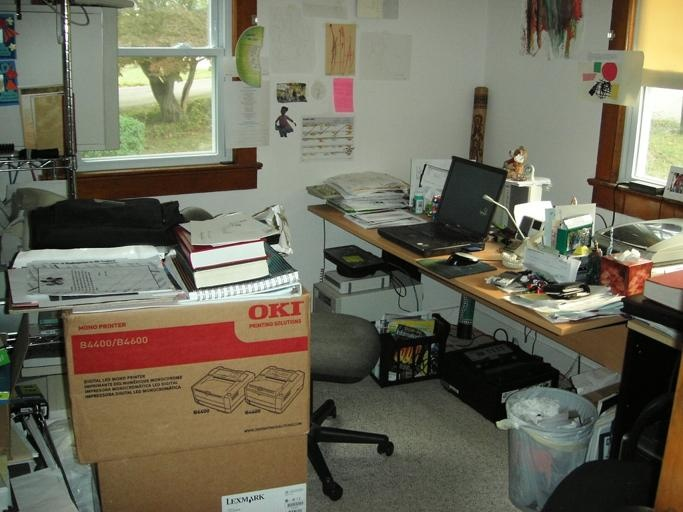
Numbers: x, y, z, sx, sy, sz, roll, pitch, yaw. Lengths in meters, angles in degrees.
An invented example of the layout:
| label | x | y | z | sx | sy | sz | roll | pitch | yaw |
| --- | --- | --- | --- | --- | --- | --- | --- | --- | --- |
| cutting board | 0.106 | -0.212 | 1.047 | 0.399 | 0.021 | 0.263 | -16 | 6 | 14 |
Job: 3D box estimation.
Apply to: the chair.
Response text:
| label | x | y | z | sx | sy | sz | roll | pitch | yaw |
| --- | --- | --- | --- | --- | --- | --- | --- | --- | --- |
| chair | -0.178 | 0.414 | 2.601 | 0.770 | 1.156 | 0.703 | 0 | 11 | 5 |

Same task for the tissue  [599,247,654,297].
| label | x | y | z | sx | sy | sz | roll | pitch | yaw |
| --- | --- | --- | --- | --- | --- | --- | --- | --- | --- |
| tissue  | 1.180 | 0.085 | 2.284 | 0.167 | 0.130 | 0.162 | -10 | 17 | -41 |

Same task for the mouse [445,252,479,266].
| label | x | y | z | sx | sy | sz | roll | pitch | yaw |
| --- | --- | --- | --- | --- | --- | --- | --- | --- | --- |
| mouse | 0.585 | 0.017 | 2.645 | 0.108 | 0.033 | 0.077 | -3 | 6 | -2 |

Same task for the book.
| label | x | y | z | sx | sy | sz | roll | pitch | yaw |
| --- | --- | --- | --- | --- | --- | --- | --- | --- | --- |
| book | -0.261 | -0.012 | 1.304 | 0.239 | 0.105 | 0.229 | -6 | 18 | -19 |

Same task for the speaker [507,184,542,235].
| label | x | y | z | sx | sy | sz | roll | pitch | yaw |
| --- | --- | --- | --- | --- | --- | --- | --- | --- | --- |
| speaker | 1.001 | -0.261 | 3.069 | 0.161 | 0.254 | 0.156 | 3 | 7 | 24 |
